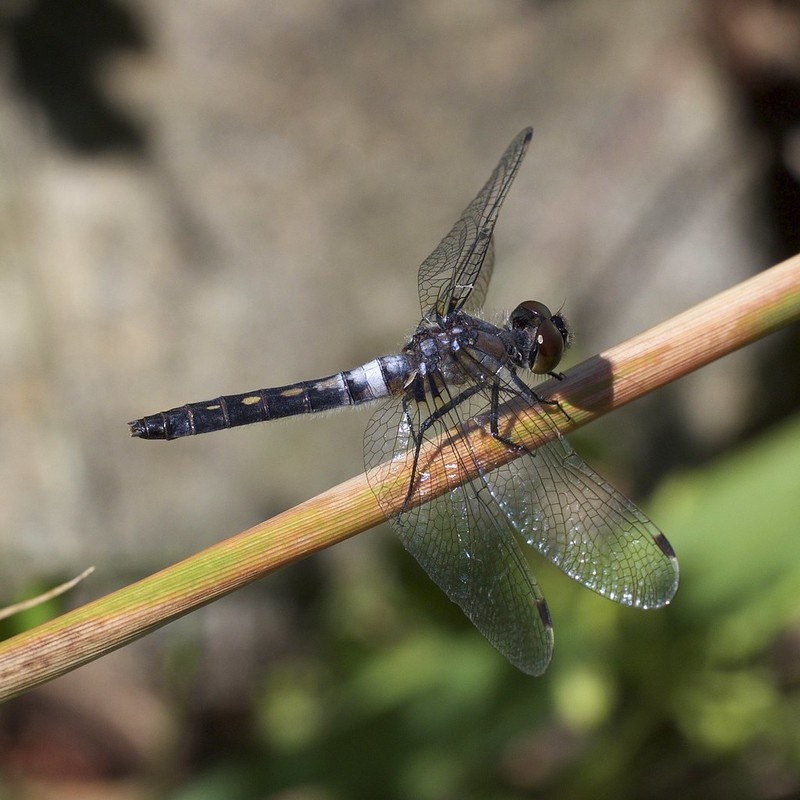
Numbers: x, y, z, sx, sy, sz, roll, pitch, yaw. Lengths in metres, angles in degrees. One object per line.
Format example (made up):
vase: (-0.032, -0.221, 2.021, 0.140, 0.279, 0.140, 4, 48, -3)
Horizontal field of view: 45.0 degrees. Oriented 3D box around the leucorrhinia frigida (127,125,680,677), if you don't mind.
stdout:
leucorrhinia frigida: (0.125, 0.106, 2.434, 0.986, 1.131, 0.457, -29, -40, 4)
